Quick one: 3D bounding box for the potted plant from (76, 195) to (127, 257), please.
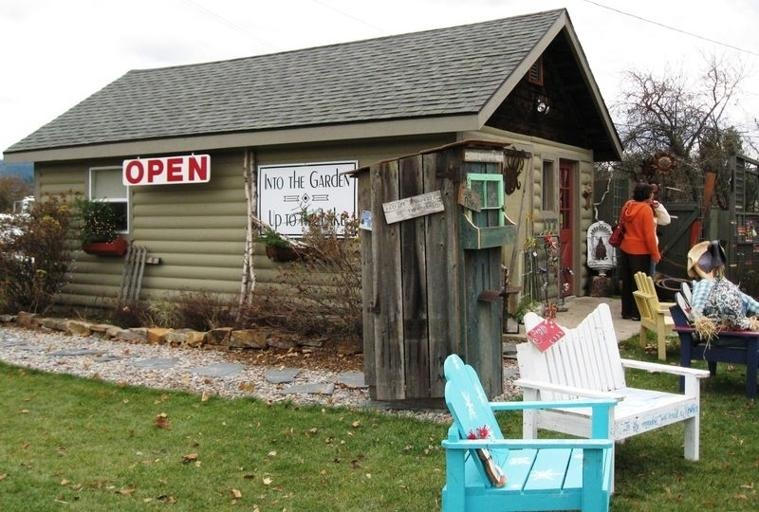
[{"bbox_3d":[-5.285,-0.502,13.511,0.944,1.115,0.655,-2,13,-5],"label":"potted plant"}]

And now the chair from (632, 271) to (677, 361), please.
[{"bbox_3d":[4.165,0.947,10.721,0.708,0.943,1.102,0,5,4],"label":"chair"}]

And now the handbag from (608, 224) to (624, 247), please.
[{"bbox_3d":[4.313,-0.369,12.816,0.224,0.424,0.381,23,11,21],"label":"handbag"}]
